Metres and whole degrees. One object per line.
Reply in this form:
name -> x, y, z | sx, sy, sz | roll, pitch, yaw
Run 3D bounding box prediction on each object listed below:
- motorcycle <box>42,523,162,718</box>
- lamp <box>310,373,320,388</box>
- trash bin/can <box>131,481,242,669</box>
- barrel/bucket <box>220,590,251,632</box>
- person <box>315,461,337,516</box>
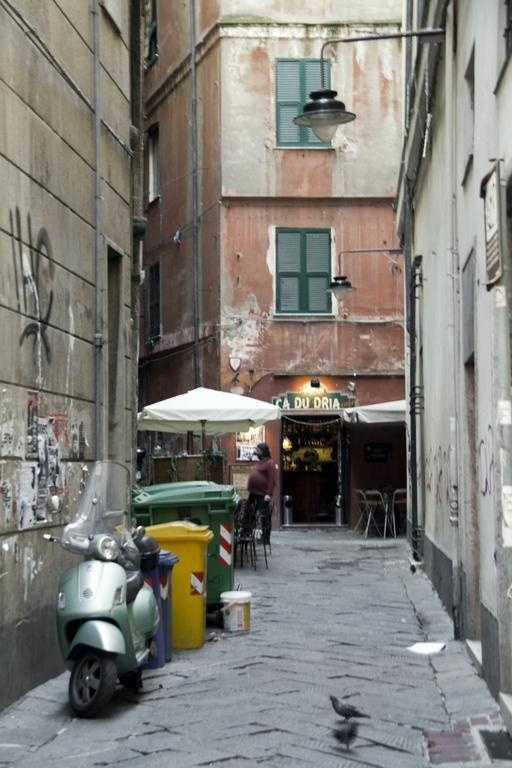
motorcycle -> -0.891, 1.374, 5.804 | 0.453, 1.013, 1.149 | -2, -4, 7
lamp -> 1.198, -0.015, 19.839 | 0.220, 0.257, 0.186 | -2, -3, -4
trash bin/can -> -0.556, 1.697, 9.051 | 0.612, 1.825, 0.995 | -1, -5, 8
barrel/bucket -> -0.176, 1.904, 8.117 | 0.180, 0.360, 0.260 | 0, -5, -2
person -> 1.508, 2.275, 20.479 | 0.407, 1.219, 0.317 | -1, -2, 4
